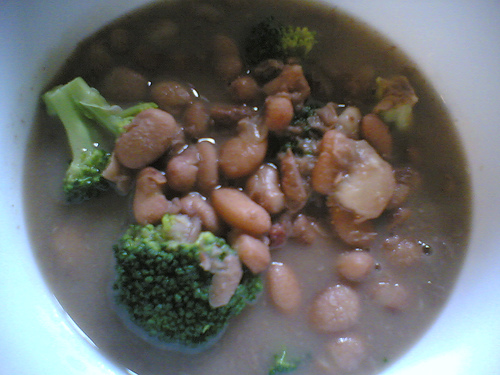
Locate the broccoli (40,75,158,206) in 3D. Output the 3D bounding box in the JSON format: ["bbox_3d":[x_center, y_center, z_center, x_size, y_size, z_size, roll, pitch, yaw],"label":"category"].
[{"bbox_3d":[-0.460,-0.134,1.633,0.385,0.135,0.363,-7,92,5],"label":"broccoli"}]

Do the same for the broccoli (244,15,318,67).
[{"bbox_3d":[0.067,-0.474,1.626,0.089,0.143,0.186,-39,96,5],"label":"broccoli"}]

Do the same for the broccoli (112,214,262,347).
[{"bbox_3d":[-0.213,0.256,1.480,0.385,0.188,0.320,39,71,12],"label":"broccoli"}]
